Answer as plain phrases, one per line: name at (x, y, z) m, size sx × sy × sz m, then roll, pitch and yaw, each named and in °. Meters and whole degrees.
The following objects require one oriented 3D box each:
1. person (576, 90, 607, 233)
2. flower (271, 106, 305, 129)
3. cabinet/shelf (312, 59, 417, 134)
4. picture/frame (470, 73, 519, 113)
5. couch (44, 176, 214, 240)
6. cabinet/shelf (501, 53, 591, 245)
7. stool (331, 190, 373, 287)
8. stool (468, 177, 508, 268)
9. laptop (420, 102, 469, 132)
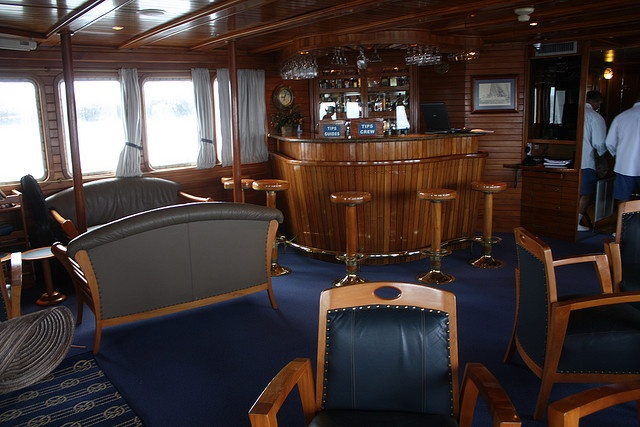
person at (4.636, -0.863, 7.527) m, size 0.332 × 2.411 × 0.731 m, roll 5°, pitch 16°, yaw 31°
flower at (-0.639, -1.924, 8.781) m, size 0.692 × 0.471 × 0.399 m, roll -6°, pitch 12°, yaw -14°
cabinet/shelf at (0.875, -2.228, 8.844) m, size 2.027 × 1.631 × 0.618 m, roll -1°, pitch -11°, yaw 2°
picture/frame at (3.105, -2.152, 7.803) m, size 0.872 × 0.596 × 0.055 m, roll 1°, pitch 7°, yaw 13°
couch at (-3.206, -0.234, 7.077) m, size 2.342 × 0.975 × 1.173 m, roll -9°, pitch 18°, yaw -37°
cabinet/shelf at (3.882, -1.037, 7.419) m, size 1.339 × 2.917 × 0.866 m, roll -4°, pitch 16°, yaw -11°
stool at (0.437, 0.318, 6.230) m, size 0.551 × 1.266 × 0.797 m, roll -2°, pitch 13°, yaw 8°
stool at (2.536, 0.134, 6.705) m, size 0.455 × 1.237 × 0.789 m, roll 2°, pitch 14°, yaw 22°
laptop at (1.986, -1.476, 7.061) m, size 0.671 × 0.397 × 0.586 m, roll -6°, pitch 11°, yaw -33°
